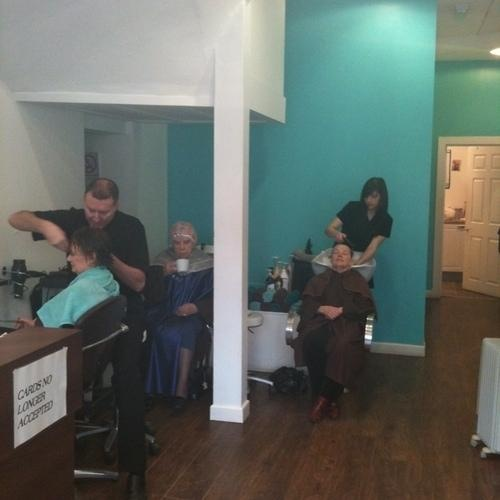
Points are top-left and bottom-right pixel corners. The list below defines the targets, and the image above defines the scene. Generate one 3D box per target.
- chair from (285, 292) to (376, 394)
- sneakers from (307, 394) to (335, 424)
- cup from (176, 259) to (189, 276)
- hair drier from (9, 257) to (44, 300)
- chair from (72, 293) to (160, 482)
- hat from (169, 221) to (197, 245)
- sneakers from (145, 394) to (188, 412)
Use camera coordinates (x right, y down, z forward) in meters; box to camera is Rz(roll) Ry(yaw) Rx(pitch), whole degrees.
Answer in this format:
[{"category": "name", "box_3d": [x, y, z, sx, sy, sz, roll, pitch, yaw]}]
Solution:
[{"category": "chair", "box_3d": [0.543, 0.634, 3.269, 0.538, 0.731, 0.541, 3, 6, 15]}, {"category": "sneakers", "box_3d": [0.458, 0.976, 3.003, 0.212, 0.120, 0.086, -4, 8, -42]}, {"category": "cup", "box_3d": [-0.414, 0.124, 3.059, 0.078, 0.073, 0.069, 0, 3, 20]}, {"category": "hair drier", "box_3d": [-1.120, 0.143, 2.464, 0.113, 0.194, 0.153, -8, 32, -23]}, {"category": "chair", "box_3d": [-0.656, 0.647, 2.414, 0.355, 0.810, 0.510, 0, 6, -12]}, {"category": "hat", "box_3d": [-0.419, -0.096, 3.036, 0.094, 0.133, 0.137, 0, 11, 3]}, {"category": "sneakers", "box_3d": [-0.513, 0.957, 3.110, 0.298, 0.142, 0.109, -1, 5, 8]}]
